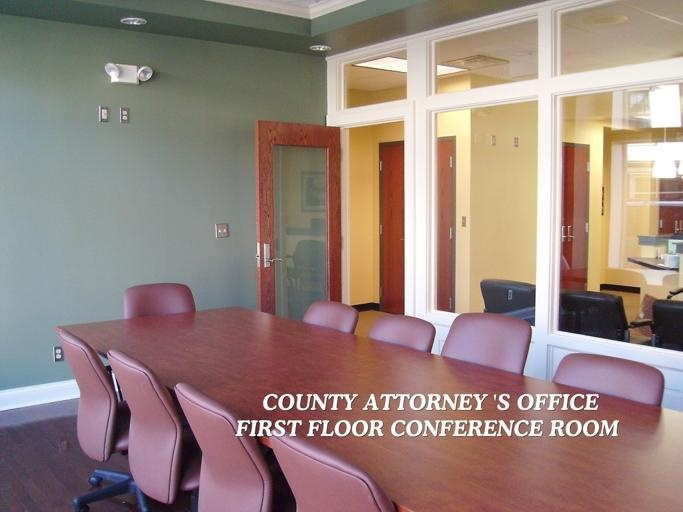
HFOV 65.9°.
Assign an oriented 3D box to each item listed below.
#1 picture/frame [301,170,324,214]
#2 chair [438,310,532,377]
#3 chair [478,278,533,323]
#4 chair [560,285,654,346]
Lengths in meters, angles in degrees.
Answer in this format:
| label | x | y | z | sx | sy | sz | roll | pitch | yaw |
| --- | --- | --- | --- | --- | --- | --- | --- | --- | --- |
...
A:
| label | x | y | z | sx | sy | sz | roll | pitch | yaw |
| --- | --- | --- | --- | --- | --- | --- | --- | --- | --- |
| picture/frame | -0.336 | -0.722 | 5.864 | 0.426 | 0.586 | 0.023 | -6 | 11 | -42 |
| chair | 0.897 | 0.461 | 3.270 | 0.359 | 0.594 | 0.419 | 5 | 4 | 33 |
| chair | 1.500 | 0.401 | 4.794 | 0.429 | 0.454 | 0.330 | -3 | 3 | 18 |
| chair | 2.113 | 0.458 | 4.342 | 0.391 | 0.461 | 0.389 | -9 | 10 | -43 |
